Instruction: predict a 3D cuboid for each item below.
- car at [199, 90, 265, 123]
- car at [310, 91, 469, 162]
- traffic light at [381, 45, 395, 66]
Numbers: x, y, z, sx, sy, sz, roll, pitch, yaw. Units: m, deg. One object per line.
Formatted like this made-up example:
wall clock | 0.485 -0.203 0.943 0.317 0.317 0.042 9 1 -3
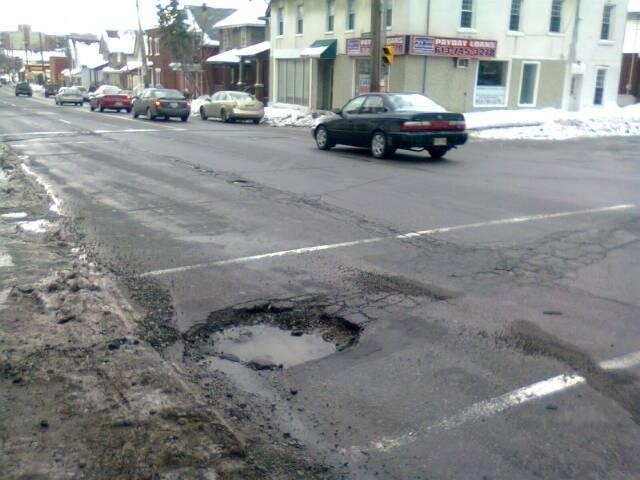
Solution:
car | -5.077 -7.660 30.869 1.694 1.838 3.621 -12 17 -42
car | 1.824 -3.648 16.292 2.060 1.331 4.123 -8 19 -30
traffic light | 3.012 -8.267 23.872 0.446 0.804 2.078 2 13 9
